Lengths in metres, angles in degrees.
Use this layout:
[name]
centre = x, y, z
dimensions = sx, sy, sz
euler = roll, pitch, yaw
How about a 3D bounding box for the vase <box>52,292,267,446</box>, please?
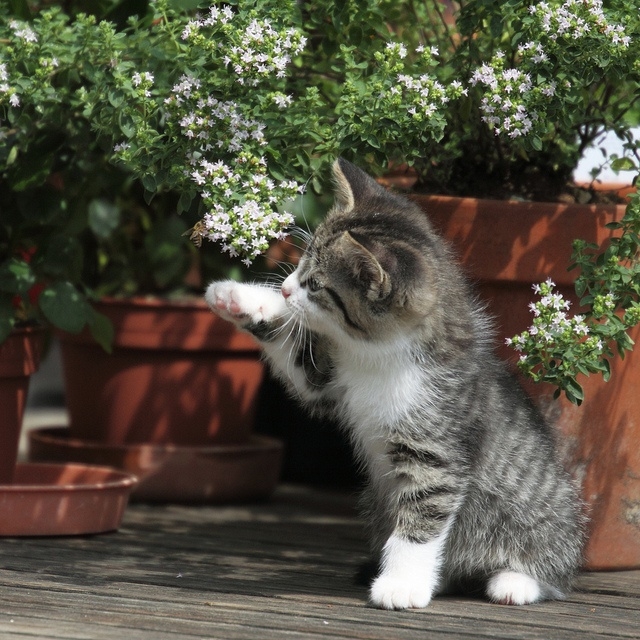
[vase]
centre = -0.487, 0.155, 2.901
dimensions = 0.650, 0.292, 0.569
euler = 3, -1, -33
